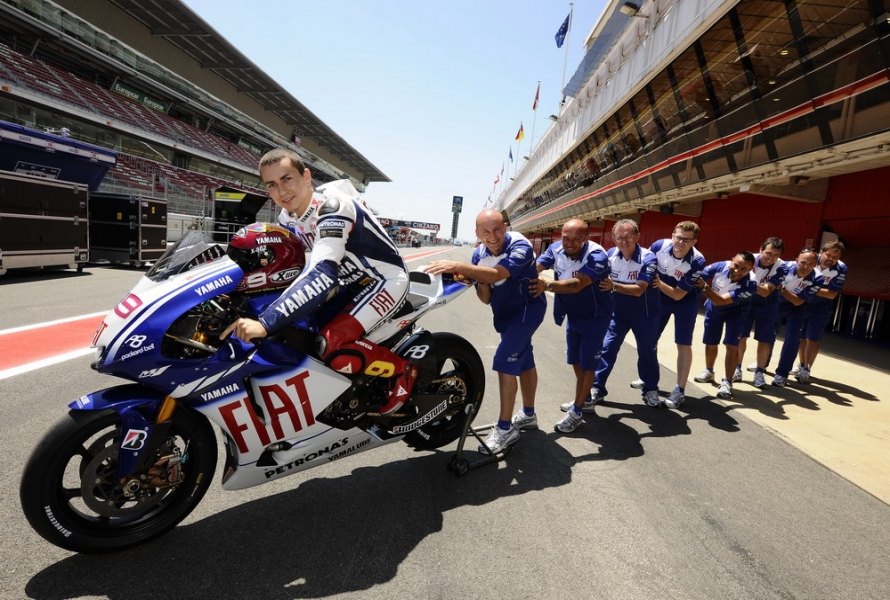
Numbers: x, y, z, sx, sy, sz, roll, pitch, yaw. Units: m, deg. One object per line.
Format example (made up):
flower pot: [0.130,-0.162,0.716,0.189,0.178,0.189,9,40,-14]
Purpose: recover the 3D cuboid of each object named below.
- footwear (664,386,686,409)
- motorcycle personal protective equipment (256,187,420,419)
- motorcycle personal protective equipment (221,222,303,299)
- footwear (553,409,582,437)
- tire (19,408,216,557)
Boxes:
footwear: [3.127,1.286,6.335,0.168,0.239,0.343,11,12,42]
motorcycle personal protective equipment: [-1.009,-0.172,4.783,2.022,2.226,1.432,-5,-1,-19]
motorcycle personal protective equipment: [-1.429,-0.378,3.936,0.763,0.482,0.512,-4,13,-6]
footwear: [1.440,1.348,5.366,0.374,0.229,0.146,-5,12,-41]
tire: [-2.277,1.278,3.312,0.922,0.823,0.169,-33,24,-24]
